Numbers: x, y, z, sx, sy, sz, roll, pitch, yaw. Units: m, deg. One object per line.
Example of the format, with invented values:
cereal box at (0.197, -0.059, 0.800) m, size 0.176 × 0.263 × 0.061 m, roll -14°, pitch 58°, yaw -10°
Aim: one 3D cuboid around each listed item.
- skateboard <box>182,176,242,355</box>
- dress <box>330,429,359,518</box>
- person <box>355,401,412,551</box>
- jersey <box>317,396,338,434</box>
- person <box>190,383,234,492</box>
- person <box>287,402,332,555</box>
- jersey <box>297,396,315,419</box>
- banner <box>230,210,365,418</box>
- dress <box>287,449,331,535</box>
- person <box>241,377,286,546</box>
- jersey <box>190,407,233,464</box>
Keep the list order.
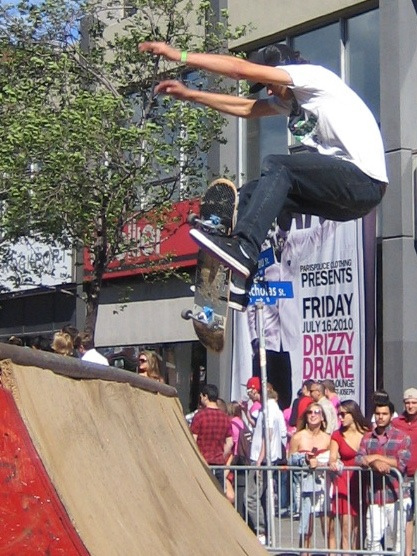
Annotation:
skateboard at (-0.034, 0.019, 17.530) m, size 0.430 × 0.250 × 1.686 m, roll -6°, pitch 39°, yaw -21°
dress at (1.254, 1.832, 14.629) m, size 0.270 × 0.791 × 0.612 m, roll 2°, pitch -4°, yaw 5°
person at (1.590, 1.813, 14.458) m, size 0.503 × 1.365 × 0.972 m, roll 2°, pitch -4°, yaw 7°
jersey at (1.314, 1.485, 17.155) m, size 0.240 × 0.529 × 0.441 m, roll -1°, pitch 10°, yaw 9°
person at (0.005, 1.492, 16.053) m, size 0.383 × 0.800 × 0.632 m, roll 1°, pitch -4°, yaw 16°
person at (0.958, 1.923, 15.226) m, size 0.406 × 1.414 × 1.366 m, roll 2°, pitch -4°, yaw 3°
jersey at (1.036, 1.385, 16.814) m, size 0.139 × 0.313 × 0.209 m, roll 7°, pitch -24°, yaw -3°
banner at (1.404, 0.458, 20.597) m, size 0.504 × 2.554 × 2.243 m, roll 4°, pitch -4°, yaw -23°
dress at (0.956, 1.993, 14.993) m, size 0.295 × 0.916 × 0.298 m, roll 0°, pitch 3°, yaw 20°
person at (0.575, 1.869, 17.174) m, size 0.435 × 1.544 × 0.492 m, roll 11°, pitch 17°, yaw 29°
jersey at (0.044, 1.608, 16.083) m, size 0.457 × 0.563 × 0.344 m, roll 6°, pitch -6°, yaw -42°
